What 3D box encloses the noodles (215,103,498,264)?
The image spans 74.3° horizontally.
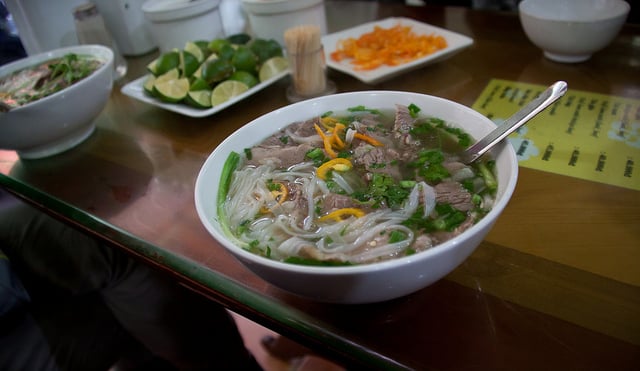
[{"bbox_3d":[0.117,-0.013,2.338,0.996,0.744,0.823,1,93,-8],"label":"noodles"}]

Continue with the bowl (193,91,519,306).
[{"bbox_3d":[0.162,0.018,2.061,1.453,0.345,1.104,-1,49,5],"label":"bowl"}]
